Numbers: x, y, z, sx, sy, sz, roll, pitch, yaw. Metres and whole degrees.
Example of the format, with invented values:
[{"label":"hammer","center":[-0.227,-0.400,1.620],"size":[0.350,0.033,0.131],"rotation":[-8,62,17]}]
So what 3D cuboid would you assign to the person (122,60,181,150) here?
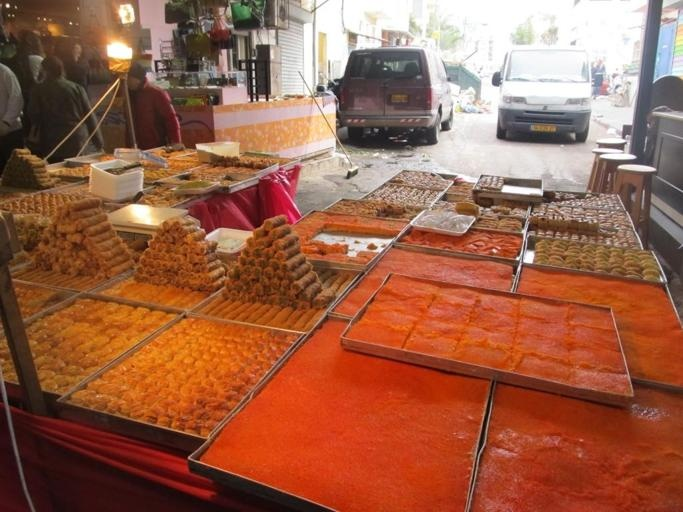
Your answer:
[{"label":"person","center":[-2.548,-1.994,6.331],"size":[0.768,1.362,0.701],"rotation":[17,22,35]}]

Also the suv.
[{"label":"suv","center":[1.659,-4.479,12.303],"size":[2.971,2.568,6.668],"rotation":[5,17,19]}]

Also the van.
[{"label":"van","center":[5.712,-4.640,12.708],"size":[3.119,2.656,2.017],"rotation":[3,17,14]}]
